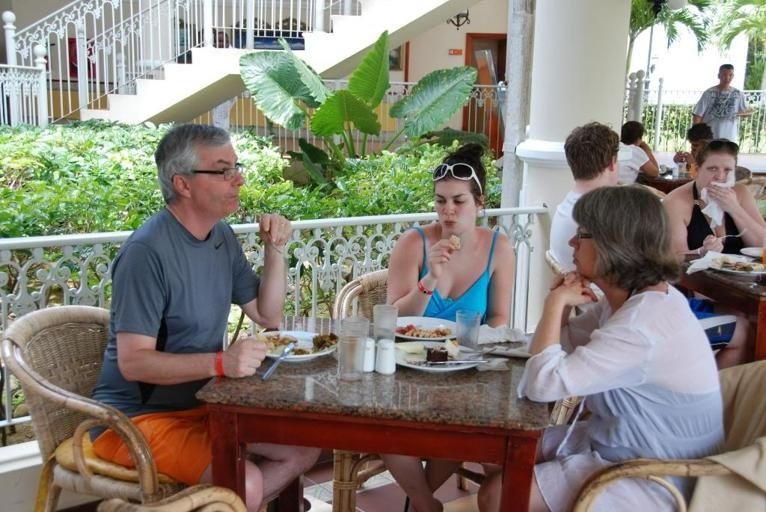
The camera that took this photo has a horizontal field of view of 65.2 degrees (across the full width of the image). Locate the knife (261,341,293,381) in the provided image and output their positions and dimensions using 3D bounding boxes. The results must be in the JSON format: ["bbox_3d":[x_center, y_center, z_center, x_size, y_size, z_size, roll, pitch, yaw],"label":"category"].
[{"bbox_3d":[-0.405,0.405,2.319,0.041,0.023,0.198,1,27,25],"label":"knife"}]

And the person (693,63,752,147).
[{"bbox_3d":[5.515,-2.221,9.852,0.867,1.716,0.575,-2,31,19],"label":"person"}]

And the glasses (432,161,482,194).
[{"bbox_3d":[0.391,-0.401,3.115,0.259,0.159,0.086,1,8,5],"label":"glasses"}]

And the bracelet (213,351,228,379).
[{"bbox_3d":[-0.611,0.409,2.244,0.025,0.076,0.057,2,6,2],"label":"bracelet"}]

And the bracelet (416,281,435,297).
[{"bbox_3d":[0.212,0.162,3.021,0.024,0.070,0.068,-31,40,12],"label":"bracelet"}]

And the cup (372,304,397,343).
[{"bbox_3d":[0.009,0.271,2.474,0.123,0.191,0.129,1,7,0],"label":"cup"}]
